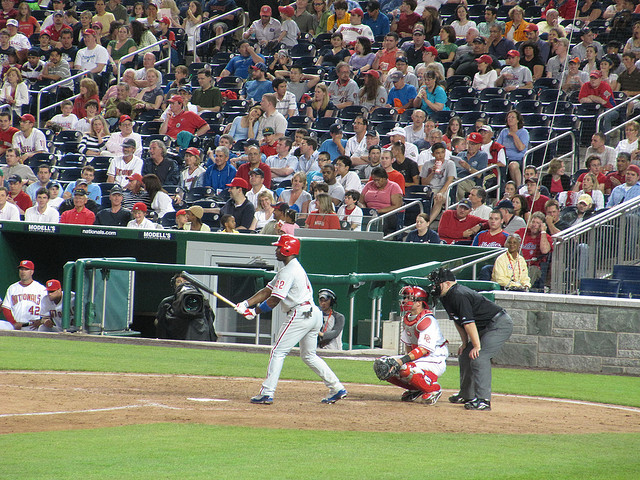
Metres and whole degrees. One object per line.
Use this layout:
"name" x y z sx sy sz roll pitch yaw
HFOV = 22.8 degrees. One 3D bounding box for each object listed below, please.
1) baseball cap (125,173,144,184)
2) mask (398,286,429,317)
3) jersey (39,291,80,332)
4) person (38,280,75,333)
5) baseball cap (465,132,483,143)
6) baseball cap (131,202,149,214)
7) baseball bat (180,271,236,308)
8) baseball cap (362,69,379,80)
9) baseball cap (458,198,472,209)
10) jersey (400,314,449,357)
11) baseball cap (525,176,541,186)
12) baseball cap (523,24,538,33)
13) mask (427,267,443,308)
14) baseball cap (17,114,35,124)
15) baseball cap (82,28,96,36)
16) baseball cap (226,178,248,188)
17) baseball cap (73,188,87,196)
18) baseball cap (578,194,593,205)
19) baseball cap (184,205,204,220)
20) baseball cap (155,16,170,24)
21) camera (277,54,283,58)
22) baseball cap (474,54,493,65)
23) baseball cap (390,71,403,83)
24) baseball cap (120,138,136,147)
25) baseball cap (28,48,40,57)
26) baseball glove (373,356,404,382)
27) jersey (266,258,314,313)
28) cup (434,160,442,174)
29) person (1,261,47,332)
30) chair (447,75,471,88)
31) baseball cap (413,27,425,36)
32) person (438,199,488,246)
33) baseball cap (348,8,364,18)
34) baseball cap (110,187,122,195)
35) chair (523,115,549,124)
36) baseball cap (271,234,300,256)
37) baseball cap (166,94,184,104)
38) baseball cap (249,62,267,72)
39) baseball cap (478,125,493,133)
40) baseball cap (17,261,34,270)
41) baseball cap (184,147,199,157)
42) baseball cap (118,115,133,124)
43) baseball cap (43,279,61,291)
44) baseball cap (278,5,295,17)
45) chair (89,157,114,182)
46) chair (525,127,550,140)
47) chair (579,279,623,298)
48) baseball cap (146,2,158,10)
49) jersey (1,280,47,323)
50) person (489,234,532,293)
"baseball cap" -3.779 -1.299 32.763 0.294 0.169 0.211 11 -5 -19
"mask" 1.552 1.003 26.257 0.515 0.466 0.390 -31 -16 25
"jersey" -5.135 1.444 31.431 0.870 0.901 0.482 -3 -12 -21
"person" -5.177 1.311 31.127 0.582 0.959 1.127 -2 12 -19
"baseball cap" 3.243 -2.098 32.488 0.242 0.141 0.178 5 0 0
"baseball cap" -3.584 -0.671 31.930 0.276 0.183 0.375 -1 12 -14
"baseball bat" -2.101 0.893 30.087 0.157 0.180 1.583 -39 -31 9
"baseball cap" 1.182 -3.728 35.565 0.313 0.129 0.205 16 4 13
"baseball cap" 2.940 -0.735 31.463 0.263 0.203 0.354 3 12 6
"jersey" 1.771 1.604 26.646 0.356 0.636 0.640 -33 5 -40
"baseball cap" 4.294 -1.190 31.670 0.191 0.166 0.308 -3 -7 34
"baseball cap" 4.822 -4.785 35.732 0.270 0.140 0.175 -5 5 -32
"mask" 1.929 0.717 25.915 0.183 0.450 0.333 1 4 1
"baseball cap" -6.511 -2.726 35.533 0.307 0.156 0.213 16 -7 -38
"baseball cap" -5.605 -5.091 38.812 0.289 0.149 0.433 0 12 -9
"baseball cap" -1.581 -1.156 31.873 0.352 0.213 0.343 -2 12 -16
"baseball cap" -4.874 -0.987 32.394 0.240 0.146 0.251 1 12 -6
"baseball cap" 5.268 -0.816 31.105 0.274 0.163 0.253 4 12 13
"baseball cap" -2.481 -0.605 31.881 0.321 0.173 0.233 28 8 0
"baseball cap" -3.908 -5.614 40.415 0.255 0.125 0.171 3 -2 -22
"camera" -0.895 -4.394 37.720 0.093 0.093 0.027 2 4 21
"baseball cap" 3.766 -4.068 35.633 0.257 0.147 0.191 13 2 -6
"baseball cap" 1.755 -3.643 35.199 0.281 0.247 0.259 4 12 13
"baseball cap" -4.037 -2.080 33.843 0.280 0.199 0.385 1 12 -5
"baseball cap" -7.036 -4.620 39.123 0.238 0.168 0.342 -2 12 -16
"baseball glove" 1.123 2.073 25.818 0.298 0.184 0.417 12 2 21
"jersey" -0.434 0.717 25.722 0.685 0.863 0.964 2 4 5
"cup" 2.472 -1.513 32.385 0.192 0.216 0.088 -2 -3 44
"person" -5.839 1.085 31.393 0.874 1.332 0.539 -1 12 -11
"chair" 3.221 -3.663 36.037 0.309 0.325 0.430 -1 11 14
"baseball cap" 2.343 -4.828 36.542 0.233 0.176 0.320 2 12 2
"person" 2.981 -0.330 31.650 1.069 1.018 0.625 15 6 4
"baseball cap" 0.950 -5.432 37.846 0.268 0.147 0.192 6 12 -10
"baseball cap" -4.117 -1.006 32.364 0.233 0.160 0.440 0 12 -9
"chair" 4.748 -2.611 34.338 0.294 0.123 0.239 11 -4 -18
"baseball cap" -0.517 0.070 25.620 0.410 0.262 0.264 10 3 5
"baseball cap" -3.203 -3.200 35.849 0.342 0.207 0.596 1 12 -5
"baseball cap" -1.349 -4.049 37.175 0.312 0.177 0.225 10 3 -20
"baseball cap" 3.457 -2.320 32.860 0.270 0.146 0.413 0 12 -9
"baseball cap" -5.802 0.486 31.484 0.263 0.197 0.272 -3 12 -21
"baseball cap" -2.668 -1.876 33.683 0.264 0.177 0.351 0 12 -7
"baseball cap" -4.226 -2.667 34.604 0.187 0.119 0.300 -2 -1 -21
"baseball cap" -5.208 0.879 31.271 0.177 0.153 0.258 0 0 30
"baseball cap" -0.778 -5.724 39.548 0.352 0.228 0.187 30 -32 -4
"chair" -4.770 -1.612 34.675 0.564 0.750 0.558 0 -6 -7
"chair" 4.770 -2.303 34.061 0.305 0.396 0.328 0 1 24
"chair" 5.315 0.886 29.731 0.772 0.308 0.216 5 12 16
"baseball cap" -4.280 -6.119 40.875 0.237 0.183 0.232 1 -12 -37
"jersey" -5.819 1.238 31.482 0.723 0.666 0.318 1 -12 0
"person" 3.733 0.453 30.159 0.681 1.118 0.970 6 -5 25
